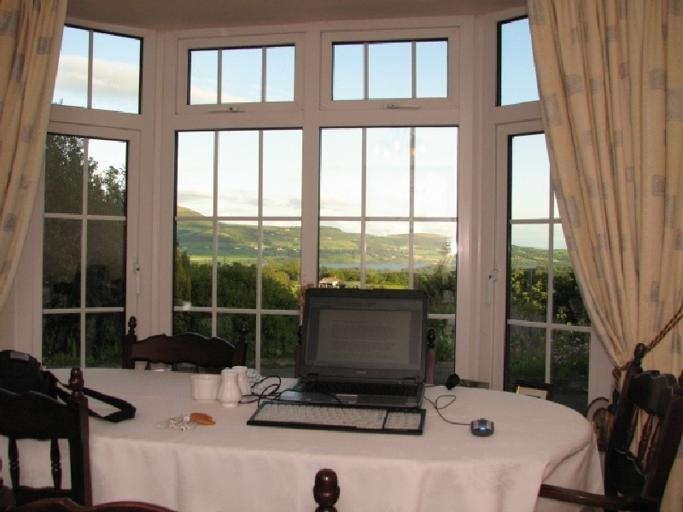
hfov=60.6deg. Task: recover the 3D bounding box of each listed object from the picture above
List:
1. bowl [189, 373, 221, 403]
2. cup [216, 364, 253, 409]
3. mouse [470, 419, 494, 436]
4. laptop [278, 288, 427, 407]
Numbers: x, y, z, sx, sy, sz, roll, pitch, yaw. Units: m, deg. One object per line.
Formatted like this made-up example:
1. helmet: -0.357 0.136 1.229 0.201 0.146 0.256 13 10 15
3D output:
1. bowl: -0.560 0.544 2.414 0.097 0.087 0.114 2 2 -25
2. cup: -0.416 0.532 2.398 0.095 0.140 0.153 -5 -8 33
3. mouse: 0.514 0.613 2.127 0.057 0.025 0.058 1 27 8
4. laptop: 0.106 0.391 2.502 0.585 0.452 0.432 0 -5 11
